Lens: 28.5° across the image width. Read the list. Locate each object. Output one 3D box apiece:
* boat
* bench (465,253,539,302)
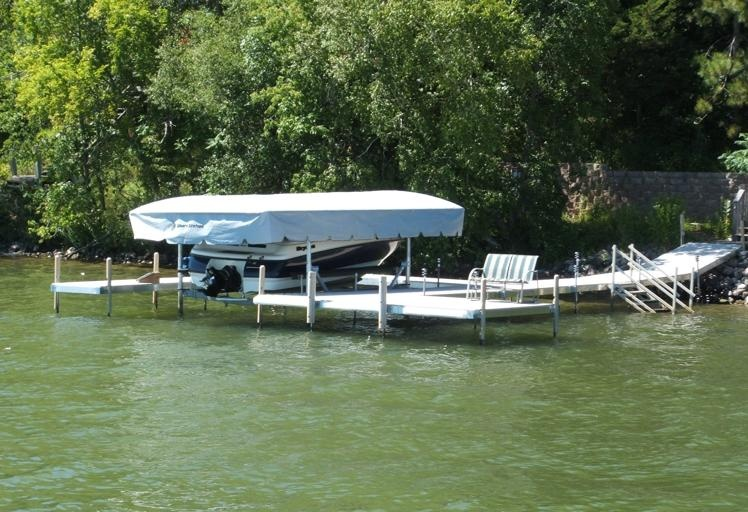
[{"bbox_3d":[-3.362,0.334,60.702,5.758,1.419,3.263,-1,0,-43],"label":"boat"},{"bbox_3d":[5.102,0.877,58.258,2.611,1.886,3.012,-1,-2,10],"label":"bench"}]
